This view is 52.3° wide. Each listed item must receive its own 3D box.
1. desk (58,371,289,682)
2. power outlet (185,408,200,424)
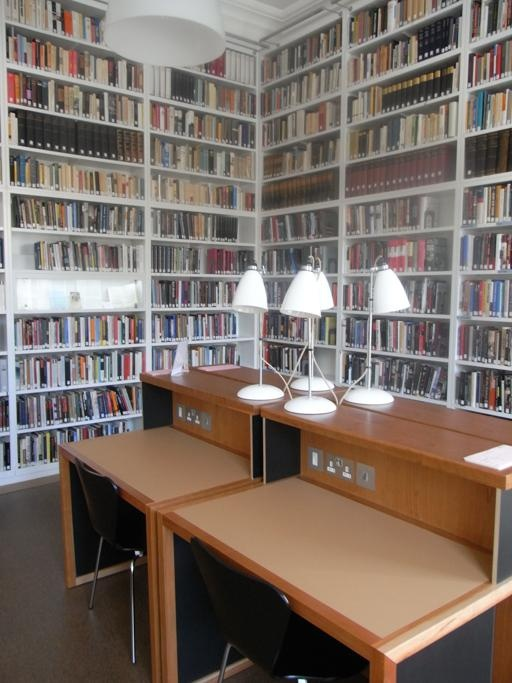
[{"bbox_3d":[-0.295,0.499,2.211,0.819,1.190,1.147,-4,9,-32],"label":"desk"},{"bbox_3d":[-0.298,0.360,2.483,0.008,0.059,0.078,-1,3,-33],"label":"power outlet"}]
